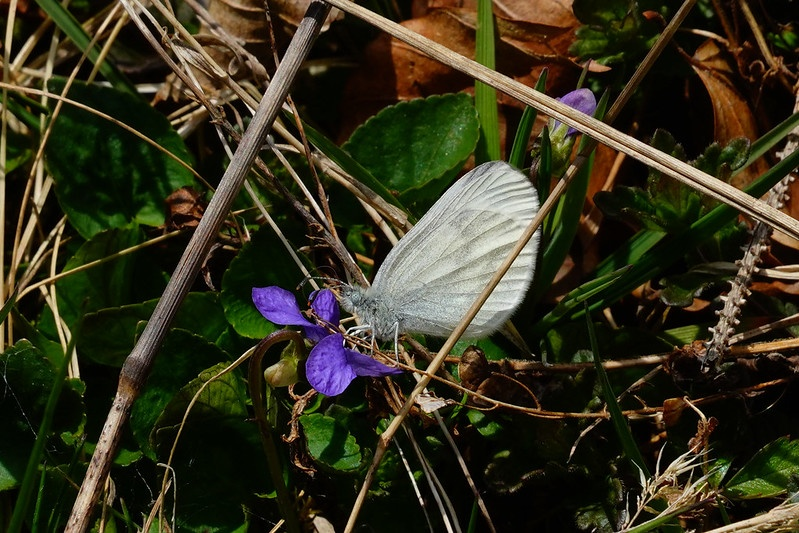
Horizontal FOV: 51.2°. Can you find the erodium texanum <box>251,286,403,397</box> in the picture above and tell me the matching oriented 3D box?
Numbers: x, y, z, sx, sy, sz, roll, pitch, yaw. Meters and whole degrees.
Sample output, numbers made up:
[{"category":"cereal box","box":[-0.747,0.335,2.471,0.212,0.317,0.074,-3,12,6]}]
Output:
[{"category":"erodium texanum","box":[-0.226,0.195,2.377,0.362,0.142,0.347,51,31,19]}]
